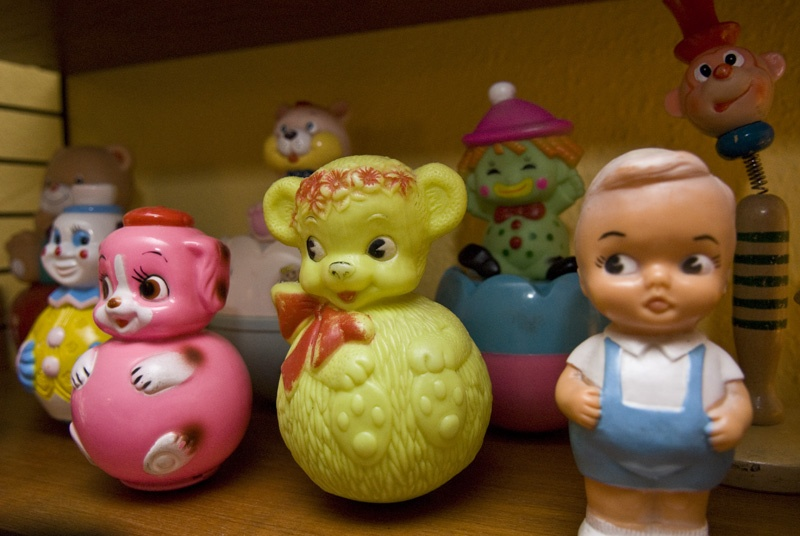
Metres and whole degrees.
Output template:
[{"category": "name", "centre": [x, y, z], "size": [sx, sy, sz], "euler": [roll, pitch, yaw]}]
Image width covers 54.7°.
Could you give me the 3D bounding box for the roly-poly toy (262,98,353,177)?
[{"category": "roly-poly toy", "centre": [-0.205, -0.268, 1.849], "size": [0.174, 0.216, 0.191], "euler": [-3, -10, 26]}]

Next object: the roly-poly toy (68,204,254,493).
[{"category": "roly-poly toy", "centre": [-0.466, 0.164, 1.484], "size": [0.334, 0.536, 0.194], "euler": [-10, 15, -26]}]
